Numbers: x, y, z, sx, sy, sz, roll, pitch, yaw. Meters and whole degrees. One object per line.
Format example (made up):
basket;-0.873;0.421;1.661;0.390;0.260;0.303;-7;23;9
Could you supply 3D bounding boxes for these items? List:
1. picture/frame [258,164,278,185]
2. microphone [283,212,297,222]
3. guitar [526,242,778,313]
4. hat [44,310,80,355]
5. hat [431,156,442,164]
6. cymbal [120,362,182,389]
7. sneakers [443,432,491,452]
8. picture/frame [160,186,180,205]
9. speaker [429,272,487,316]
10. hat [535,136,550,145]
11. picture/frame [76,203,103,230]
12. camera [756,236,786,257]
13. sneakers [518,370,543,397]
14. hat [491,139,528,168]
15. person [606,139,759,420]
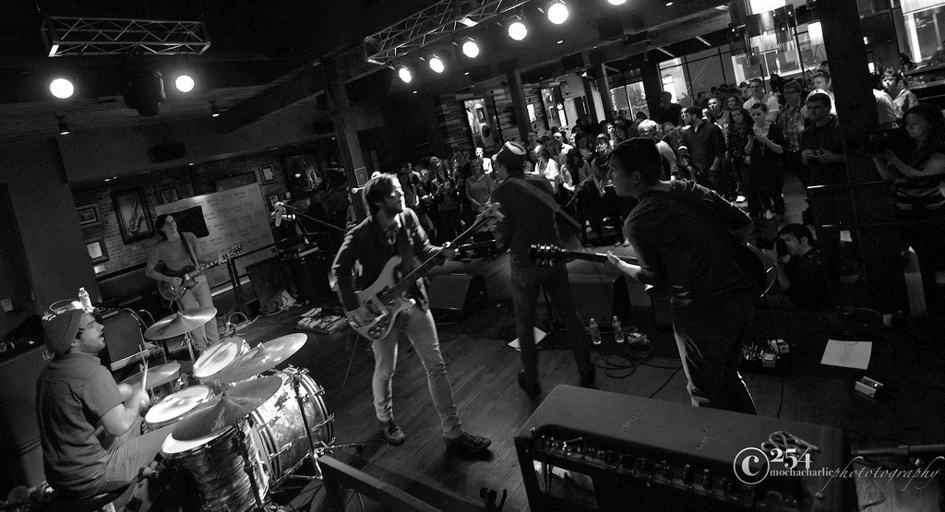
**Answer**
picture/frame;-5.044;-2.008;15.257;0.105;0.382;0.450;-6;5;42
microphone;-3.804;-0.802;12.940;0.253;0.169;0.793;-14;11;-15
guitar;2.022;0.072;6.866;2.371;0.321;1.032;1;10;13
hat;-4.781;0.867;7.245;0.398;0.472;0.367;10;-2;9
hat;-0.862;-2.221;14.353;0.234;0.108;0.313;-2;13;-5
cymbal;-4.142;1.549;8.065;0.573;0.132;0.583;-6;8;40
sneakers;-0.066;2.304;7.653;0.527;0.205;0.232;-1;9;7
picture/frame;-6.678;-1.341;13.639;0.047;0.349;0.438;2;14;39
speaker;-0.233;0.622;10.541;0.941;0.637;0.728;1;7;37
hat;1.579;-2.555;13.626;0.398;0.184;0.407;-3;4;-3
picture/frame;-7.867;-0.815;12.670;0.039;0.524;0.571;-8;0;42
camera;4.119;-0.141;8.524;0.269;0.195;0.346;1;1;-2
sneakers;0.769;1.691;8.319;0.186;0.177;0.476;-11;21;-18
hat;0.495;-1.292;7.916;0.360;0.346;0.290;-11;10;4
person;2.346;0.208;6.626;1.311;3.082;0.593;-9;11;22
